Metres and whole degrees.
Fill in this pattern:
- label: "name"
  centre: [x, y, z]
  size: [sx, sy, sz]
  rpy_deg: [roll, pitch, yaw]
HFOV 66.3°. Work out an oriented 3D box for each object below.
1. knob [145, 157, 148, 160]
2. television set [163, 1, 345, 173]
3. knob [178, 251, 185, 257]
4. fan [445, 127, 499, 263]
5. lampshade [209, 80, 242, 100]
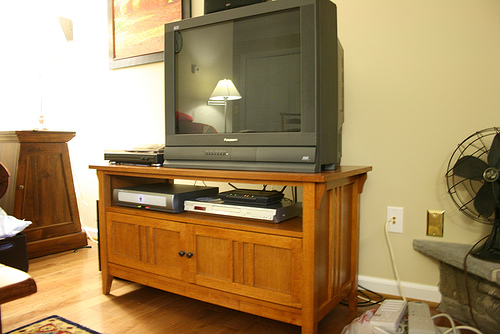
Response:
- label: "knob"
  centre: [-0.685, -0.054, 2.535]
  size: [0.018, 0.015, 0.009]
  rpy_deg: [1, 1, 19]
- label: "television set"
  centre: [0.039, -0.458, 2.295]
  size: [1.155, 0.919, 0.675]
  rpy_deg: [2, 4, 28]
- label: "knob"
  centre: [-0.406, 0.517, 2.285]
  size: [0.016, 0.021, 0.031]
  rpy_deg: [-11, -14, 38]
- label: "fan"
  centre: [1.315, 0.141, 2.253]
  size: [0.306, 0.731, 0.340]
  rpy_deg: [6, 14, 26]
- label: "lampshade"
  centre: [-0.155, -0.470, 2.356]
  size: [0.149, 0.076, 0.137]
  rpy_deg: [0, -2, 8]
